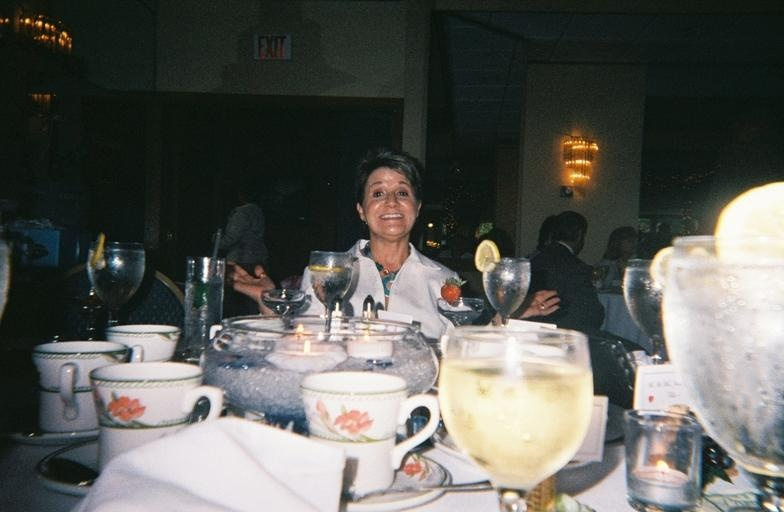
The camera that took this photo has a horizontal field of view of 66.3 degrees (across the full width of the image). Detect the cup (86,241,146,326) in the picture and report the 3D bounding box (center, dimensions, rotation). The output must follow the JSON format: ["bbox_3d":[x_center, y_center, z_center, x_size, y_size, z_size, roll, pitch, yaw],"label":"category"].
[{"bbox_3d":[-0.821,0.074,1.793,0.148,0.273,0.173,4,4,-2],"label":"cup"}]

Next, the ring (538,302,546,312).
[{"bbox_3d":[0.527,0.178,2.117,0.037,0.033,0.012,-4,-6,23],"label":"ring"}]

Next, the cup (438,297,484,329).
[{"bbox_3d":[0.245,0.196,2.126,0.126,0.087,0.117,1,-5,0],"label":"cup"}]

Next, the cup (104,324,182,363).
[{"bbox_3d":[-0.616,0.208,1.505,0.132,0.055,0.108,0,-4,26],"label":"cup"}]

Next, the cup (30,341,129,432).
[{"bbox_3d":[-0.703,0.293,1.406,0.178,0.149,0.210,3,5,-5],"label":"cup"}]

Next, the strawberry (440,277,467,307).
[{"bbox_3d":[0.212,0.125,2.159,0.099,0.094,0.087,9,-5,0],"label":"strawberry"}]

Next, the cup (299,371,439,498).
[{"bbox_3d":[-0.058,0.333,1.160,0.296,0.183,0.193,3,-2,-12],"label":"cup"}]

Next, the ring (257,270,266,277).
[{"bbox_3d":[-0.457,0.060,2.106,0.020,0.006,0.018,-5,50,-31],"label":"ring"}]

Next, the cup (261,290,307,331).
[{"bbox_3d":[-0.326,0.162,1.862,0.118,0.089,0.119,1,-2,0],"label":"cup"}]

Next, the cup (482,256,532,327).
[{"bbox_3d":[0.367,0.110,1.926,0.134,0.209,0.114,1,5,-32],"label":"cup"}]

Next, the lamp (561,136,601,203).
[{"bbox_3d":[2.191,-1.064,7.091,0.421,0.739,0.216,5,5,15],"label":"lamp"}]
